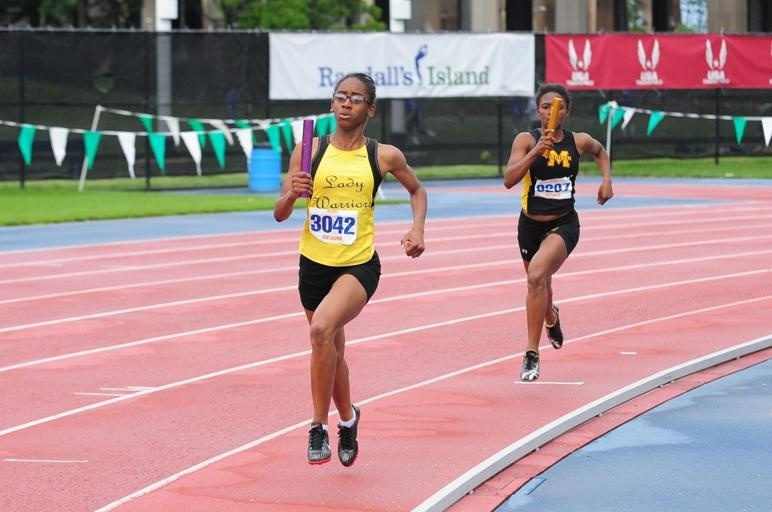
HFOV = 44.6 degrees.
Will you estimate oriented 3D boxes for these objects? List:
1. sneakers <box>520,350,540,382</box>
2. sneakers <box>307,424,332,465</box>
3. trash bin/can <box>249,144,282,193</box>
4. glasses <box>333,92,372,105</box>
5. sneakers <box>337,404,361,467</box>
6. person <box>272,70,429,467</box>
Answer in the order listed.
[{"bbox_3d":[1.126,0.871,7.354,0.120,0.222,0.182,3,11,17],"label":"sneakers"},{"bbox_3d":[-0.423,1.158,5.765,0.130,0.248,0.192,-2,11,-6],"label":"sneakers"},{"bbox_3d":[-3.404,-2.272,24.464,1.174,1.113,1.109,-2,11,-19],"label":"trash bin/can"},{"bbox_3d":[-0.217,-0.995,5.947,0.240,0.074,0.078,-2,11,-7],"label":"glasses"},{"bbox_3d":[-0.206,1.166,5.952,0.128,0.353,0.181,-3,-13,13],"label":"sneakers"},{"bbox_3d":[-0.216,0.077,6.077,0.995,2.489,1.156,-1,11,-4],"label":"person"}]
